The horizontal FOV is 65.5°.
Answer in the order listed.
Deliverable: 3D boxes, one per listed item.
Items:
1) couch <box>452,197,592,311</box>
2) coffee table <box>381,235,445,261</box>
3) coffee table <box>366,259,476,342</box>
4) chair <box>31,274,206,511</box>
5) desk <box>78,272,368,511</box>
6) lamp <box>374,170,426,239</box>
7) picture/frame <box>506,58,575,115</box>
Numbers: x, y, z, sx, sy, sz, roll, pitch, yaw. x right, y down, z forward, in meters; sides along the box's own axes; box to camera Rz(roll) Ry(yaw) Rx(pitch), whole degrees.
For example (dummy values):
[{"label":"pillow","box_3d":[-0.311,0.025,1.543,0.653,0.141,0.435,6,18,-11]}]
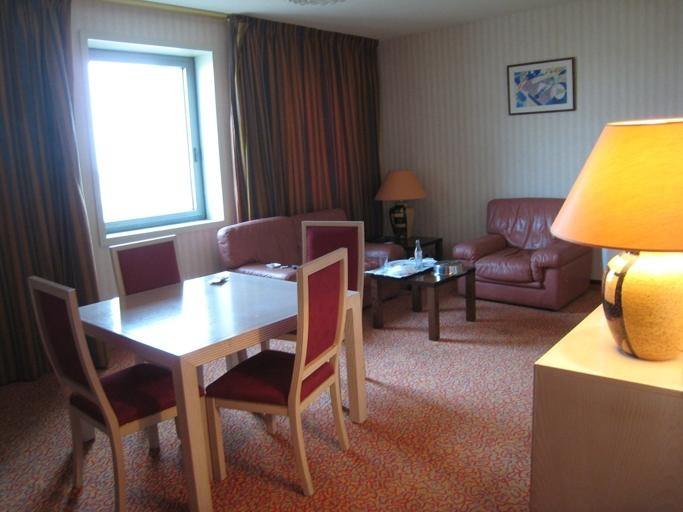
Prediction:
[{"label":"couch","box_3d":[1.737,0.034,5.360,1.411,1.263,1.140,3,8,42]},{"label":"coffee table","box_3d":[0.848,-0.172,6.026,0.399,0.396,0.397,-6,9,-35]},{"label":"coffee table","box_3d":[0.700,0.329,4.743,0.797,0.568,0.743,8,19,42]},{"label":"chair","box_3d":[-1.187,0.650,2.787,0.540,1.163,0.617,-18,19,-41]},{"label":"desk","box_3d":[-0.692,0.434,2.978,1.241,0.967,1.257,4,13,34]},{"label":"lamp","box_3d":[0.674,-0.598,6.250,0.690,0.833,0.717,-4,6,14]},{"label":"picture/frame","box_3d":[2.080,-1.766,5.503,0.651,0.505,0.013,4,12,41]}]
